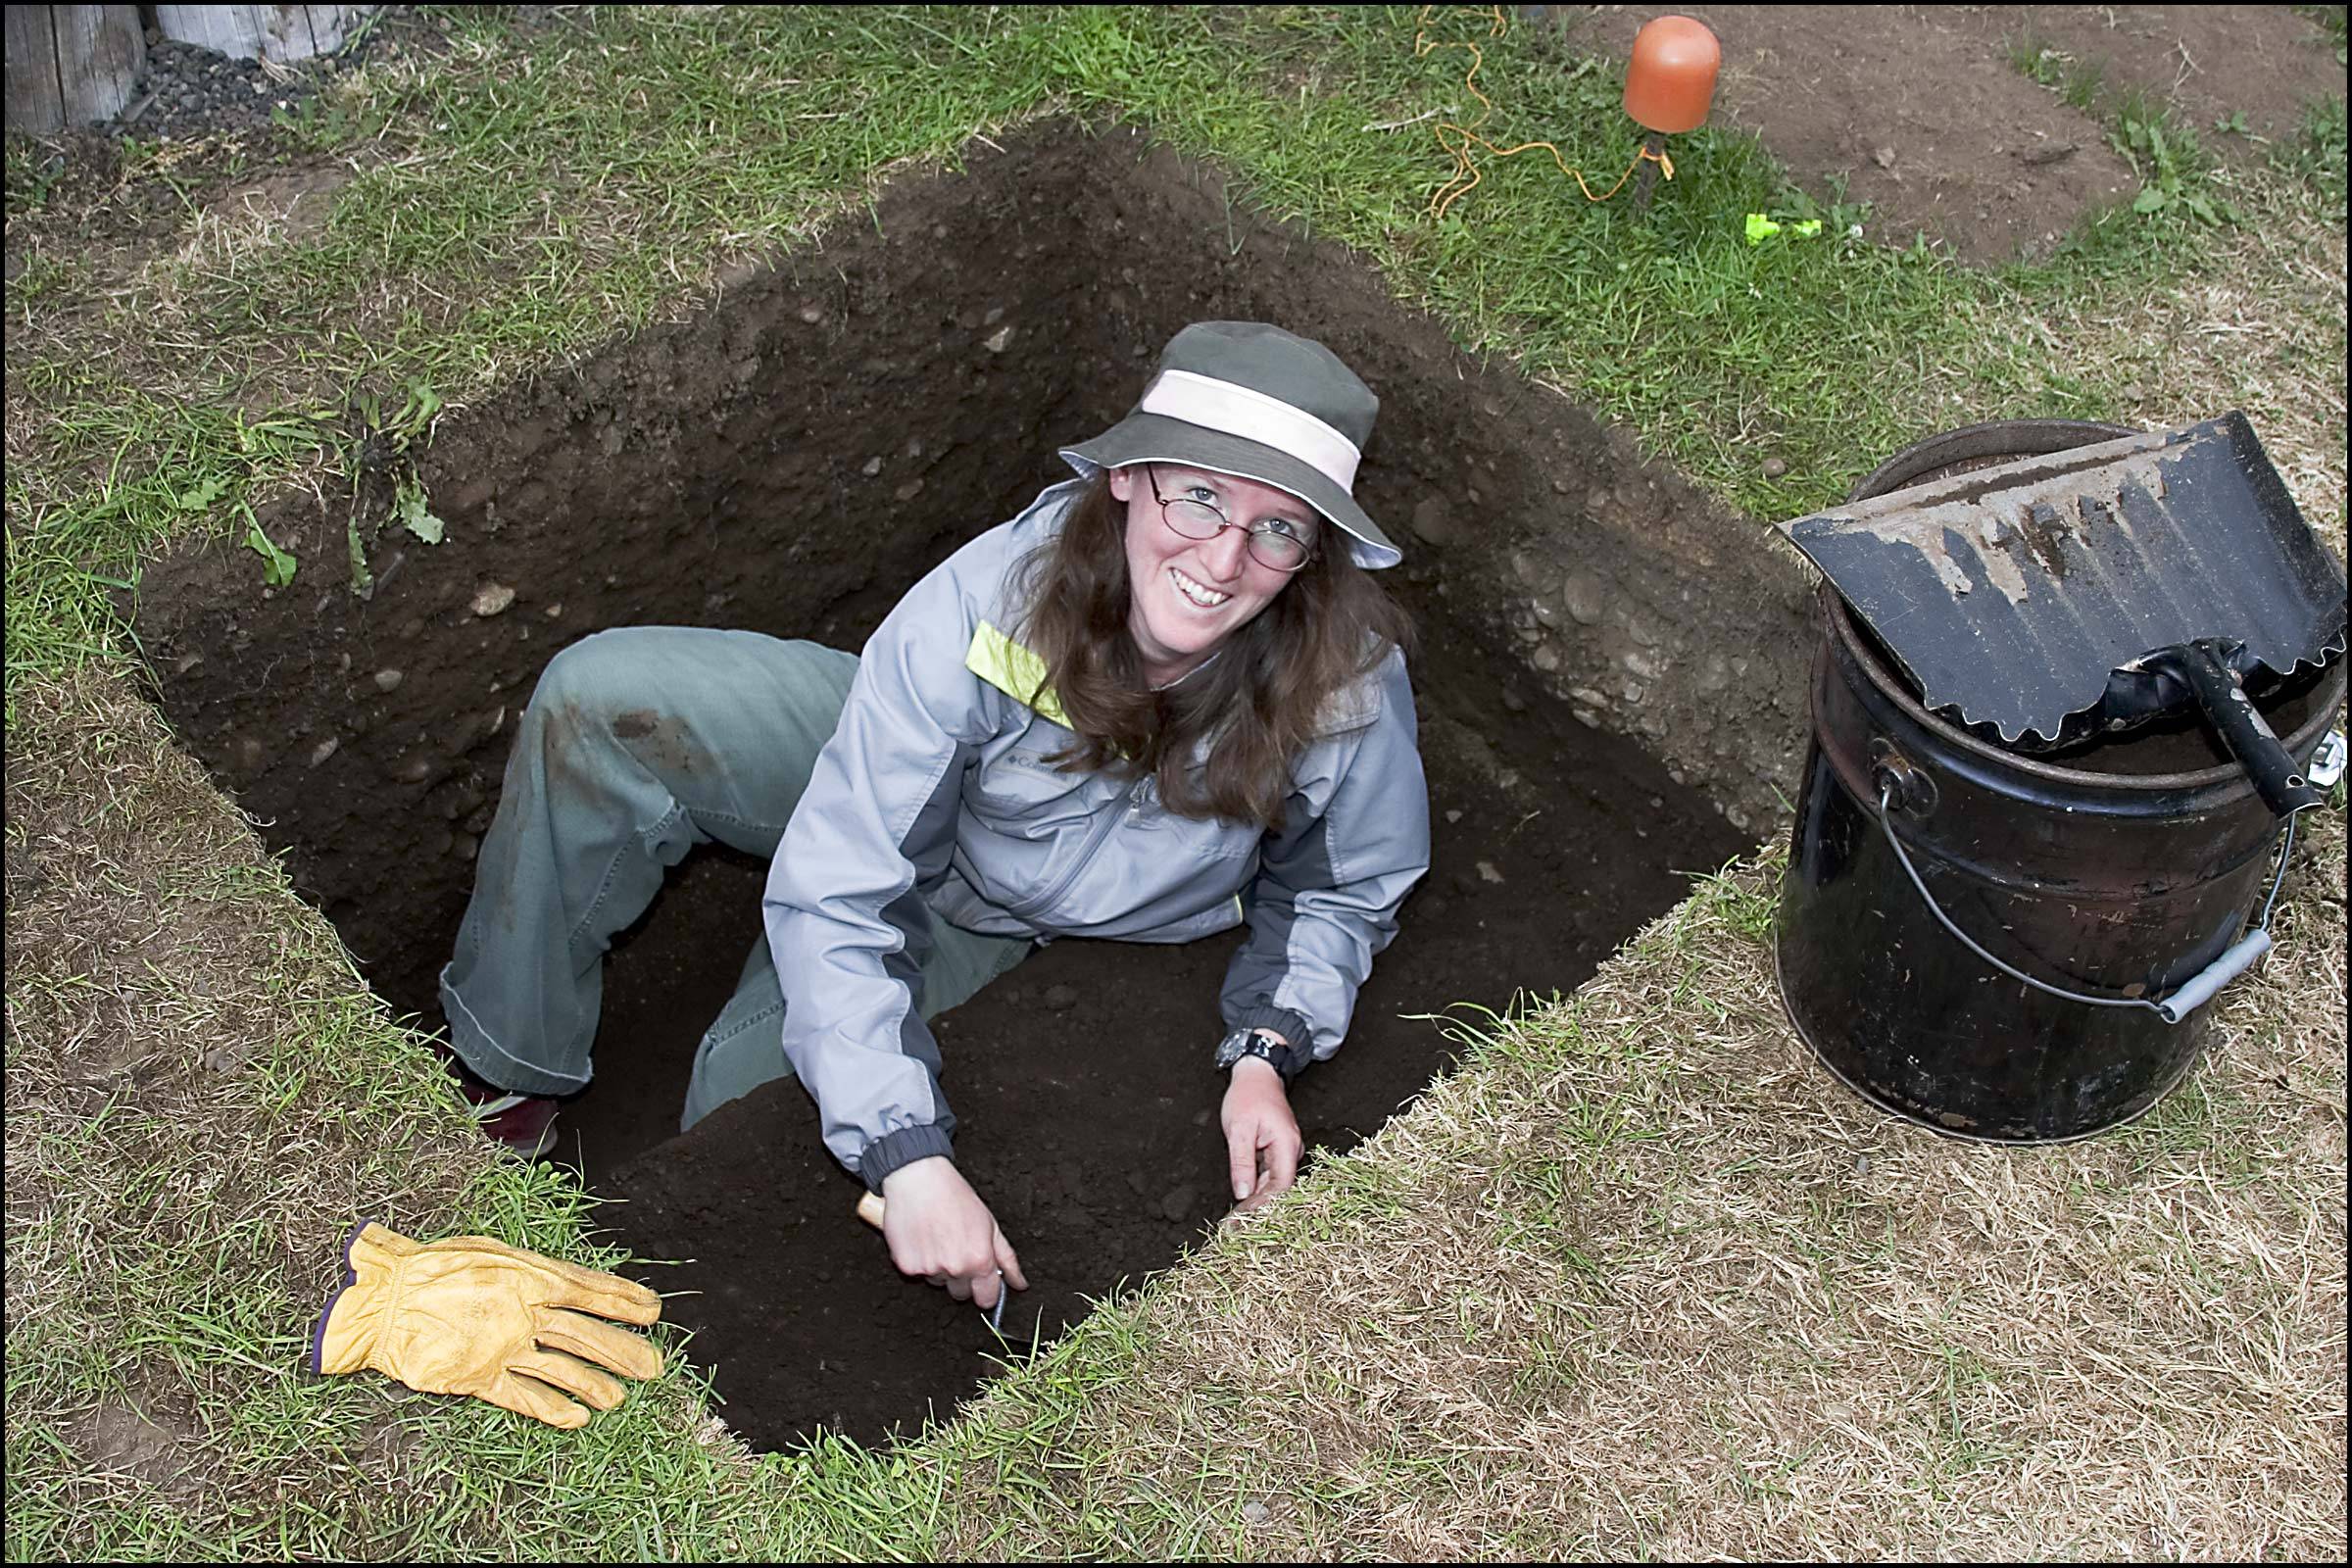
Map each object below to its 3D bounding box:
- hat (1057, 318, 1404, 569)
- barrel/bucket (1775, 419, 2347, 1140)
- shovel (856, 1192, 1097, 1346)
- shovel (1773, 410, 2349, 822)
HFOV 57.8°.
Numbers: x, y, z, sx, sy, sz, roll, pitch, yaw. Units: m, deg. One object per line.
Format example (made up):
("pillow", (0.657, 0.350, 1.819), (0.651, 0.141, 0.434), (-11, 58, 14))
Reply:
("hat", (0.139, -0.618, 4.188), (0.693, 0.353, 0.642), (0, 37, -21))
("barrel/bucket", (1.642, 0.034, 3.955), (0.860, 0.913, 0.900), (-6, 46, 6))
("shovel", (-0.424, 1.003, 4.347), (0.140, 0.157, 0.525), (-37, 42, -25))
("shovel", (1.622, -0.357, 3.873), (0.763, 0.203, 0.765), (-20, 73, -10))
